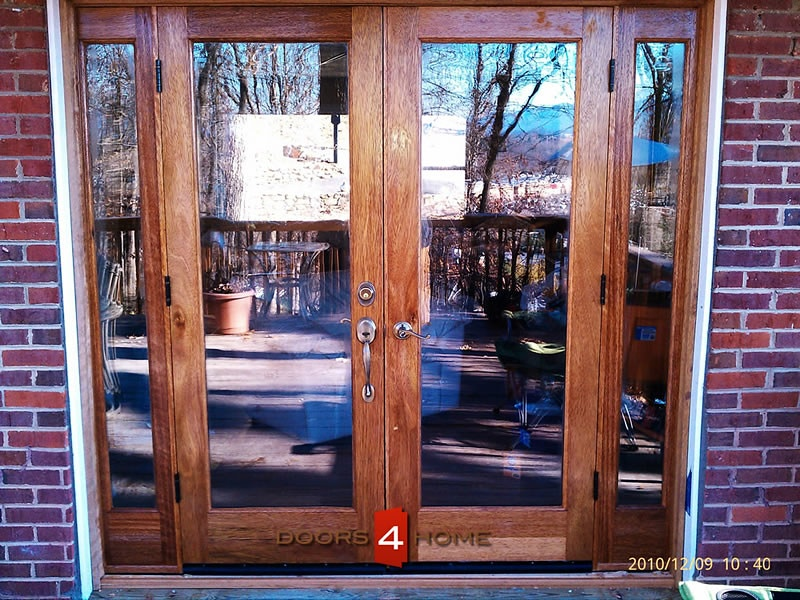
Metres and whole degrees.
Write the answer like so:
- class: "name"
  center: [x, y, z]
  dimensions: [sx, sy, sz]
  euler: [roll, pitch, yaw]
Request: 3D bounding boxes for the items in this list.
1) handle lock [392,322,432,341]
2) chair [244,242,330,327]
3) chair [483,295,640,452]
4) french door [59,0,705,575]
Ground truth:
- class: "handle lock"
  center: [0.051, 0.148, 4.026]
  dimensions: [0.129, 0.065, 0.040]
  euler: [10, 10, 11]
- class: "chair"
  center: [-0.528, -0.069, 4.206]
  dimensions: [0.363, 0.301, 0.359]
  euler: [0, 3, 0]
- class: "chair"
  center: [0.615, 0.354, 4.391]
  dimensions: [0.793, 0.853, 0.662]
  euler: [1, -3, -1]
- class: "french door"
  center: [-0.091, -0.109, 4.010]
  dimensions: [2.705, 2.405, 0.333]
  euler: [0, 6, -4]
